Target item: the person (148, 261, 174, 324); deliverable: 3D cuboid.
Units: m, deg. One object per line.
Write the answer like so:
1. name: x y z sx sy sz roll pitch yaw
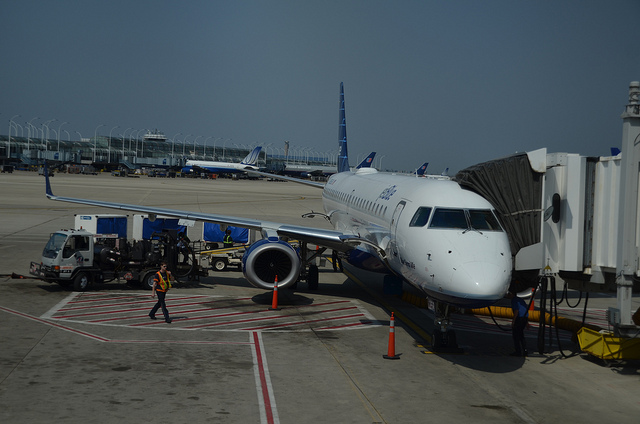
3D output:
1. person: -6.620 3.287 25.207 1.543 2.401 0.972 0 -2 41

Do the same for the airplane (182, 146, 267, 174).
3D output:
1. airplane: -36.375 -18.754 217.424 31.172 10.029 28.234 3 10 1
